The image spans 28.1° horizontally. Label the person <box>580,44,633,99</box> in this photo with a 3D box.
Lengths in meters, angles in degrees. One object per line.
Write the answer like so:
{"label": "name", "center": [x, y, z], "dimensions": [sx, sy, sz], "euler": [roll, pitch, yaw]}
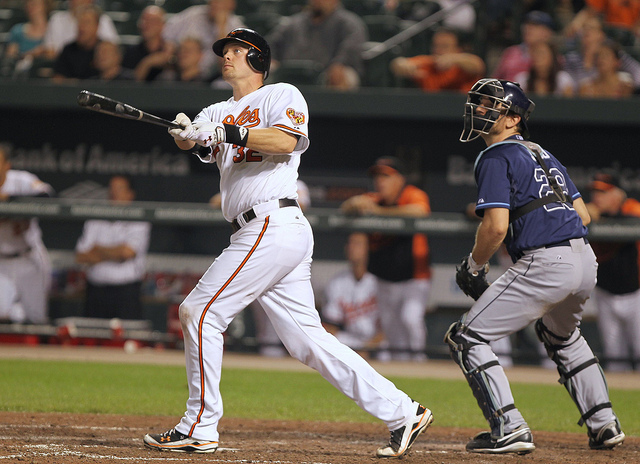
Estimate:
{"label": "person", "center": [3.574, -1.995, 15.956], "dimensions": [0.605, 0.651, 0.647], "euler": [-2, 10, 6]}

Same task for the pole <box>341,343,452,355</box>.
{"label": "pole", "center": [0.933, 1.384, 14.936], "dimensions": [1.176, 0.149, 0.332], "euler": [-1, 4, -2]}

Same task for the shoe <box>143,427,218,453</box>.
{"label": "shoe", "center": [-1.210, 1.794, 11.038], "dimensions": [0.617, 0.210, 0.139], "euler": [0, 4, 13]}

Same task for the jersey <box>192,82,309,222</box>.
{"label": "jersey", "center": [-0.580, -0.726, 11.455], "dimensions": [1.216, 1.145, 0.677], "euler": [-12, -13, 39]}

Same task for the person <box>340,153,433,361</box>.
{"label": "person", "center": [0.763, 0.428, 15.123], "dimensions": [1.320, 2.477, 0.969], "euler": [-2, 1, -10]}

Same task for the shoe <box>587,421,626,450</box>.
{"label": "shoe", "center": [2.599, 1.812, 11.408], "dimensions": [0.412, 0.188, 0.184], "euler": [30, -20, -25]}

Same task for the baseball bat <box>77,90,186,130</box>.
{"label": "baseball bat", "center": [-1.603, -1.019, 11.229], "dimensions": [0.191, 0.131, 1.355], "euler": [1, -6, 35]}

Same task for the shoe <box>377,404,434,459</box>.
{"label": "shoe", "center": [0.726, 1.722, 11.116], "dimensions": [0.498, 0.443, 0.180], "euler": [-3, 5, -27]}

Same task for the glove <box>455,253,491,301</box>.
{"label": "glove", "center": [1.366, 0.402, 11.336], "dimensions": [0.298, 0.402, 0.263], "euler": [0, 8, 2]}

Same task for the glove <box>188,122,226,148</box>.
{"label": "glove", "center": [-0.975, -0.835, 10.996], "dimensions": [0.324, 0.198, 0.153], "euler": [-1, 4, -4]}

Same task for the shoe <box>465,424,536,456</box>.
{"label": "shoe", "center": [1.584, 1.798, 11.184], "dimensions": [0.584, 0.254, 0.076], "euler": [0, 5, 8]}

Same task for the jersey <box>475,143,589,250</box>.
{"label": "jersey", "center": [1.846, -0.306, 11.522], "dimensions": [0.729, 1.027, 1.251], "euler": [-16, -8, 35]}

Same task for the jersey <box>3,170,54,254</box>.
{"label": "jersey", "center": [-3.197, -0.217, 13.713], "dimensions": [0.528, 0.900, 0.483], "euler": [7, 19, 35]}

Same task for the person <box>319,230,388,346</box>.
{"label": "person", "center": [0.443, 0.722, 15.269], "dimensions": [0.738, 1.398, 0.671], "euler": [-7, 16, -21]}
